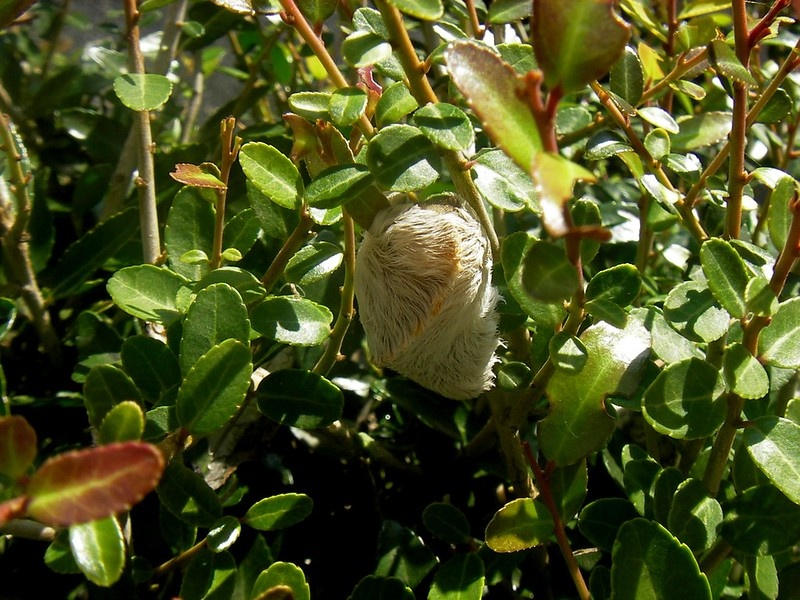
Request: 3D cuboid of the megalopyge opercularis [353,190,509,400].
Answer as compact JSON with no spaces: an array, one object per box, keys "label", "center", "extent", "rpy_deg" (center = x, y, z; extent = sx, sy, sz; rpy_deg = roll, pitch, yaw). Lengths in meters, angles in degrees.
[{"label":"megalopyge opercularis","center":[0.021,-0.003,0.749],"extent":[0.126,0.193,0.109],"rpy_deg":[-12,15,-39]}]
